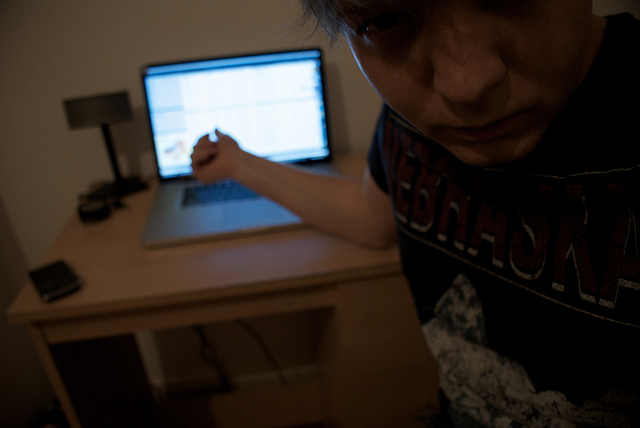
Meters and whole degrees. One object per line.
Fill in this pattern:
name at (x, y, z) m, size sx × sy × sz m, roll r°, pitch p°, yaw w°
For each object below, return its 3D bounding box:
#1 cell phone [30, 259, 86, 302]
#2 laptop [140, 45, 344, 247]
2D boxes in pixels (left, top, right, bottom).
cell phone at (-0.612, 0.156, 1.276) m, size 0.103 × 0.055 × 0.112 m, roll -19°, pitch 24°, yaw -30°
laptop at (-0.191, -0.189, 1.411) m, size 0.590 × 0.330 × 0.498 m, roll -13°, pitch 28°, yaw -18°
